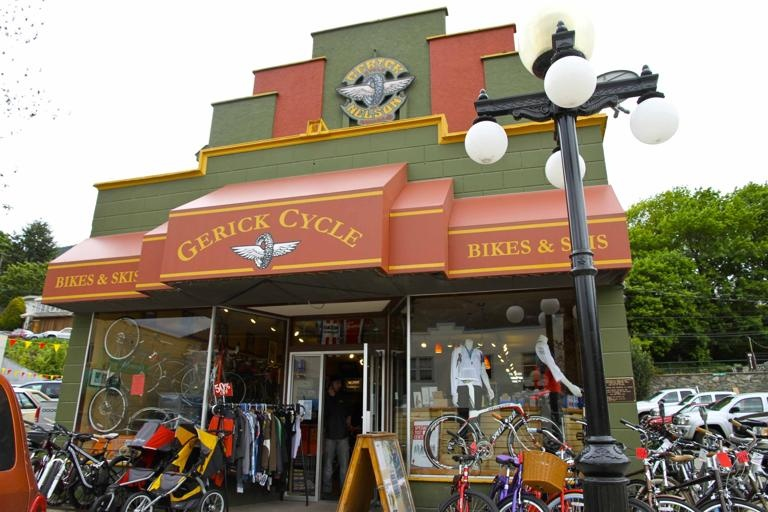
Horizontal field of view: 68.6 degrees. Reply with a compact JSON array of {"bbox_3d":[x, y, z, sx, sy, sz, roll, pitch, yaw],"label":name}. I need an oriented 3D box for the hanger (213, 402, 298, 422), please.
[{"bbox_3d":[-2.420,2.963,10.741,0.450,0.302,1.758,-15,-22,37],"label":"hanger"}]

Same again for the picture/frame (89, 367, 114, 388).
[{"bbox_3d":[-5.829,2.539,11.654,0.486,0.350,0.048,-1,-15,2],"label":"picture/frame"}]

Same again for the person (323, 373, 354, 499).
[{"bbox_3d":[-0.954,3.701,11.484,0.533,2.293,0.665,1,-19,-5],"label":"person"}]
